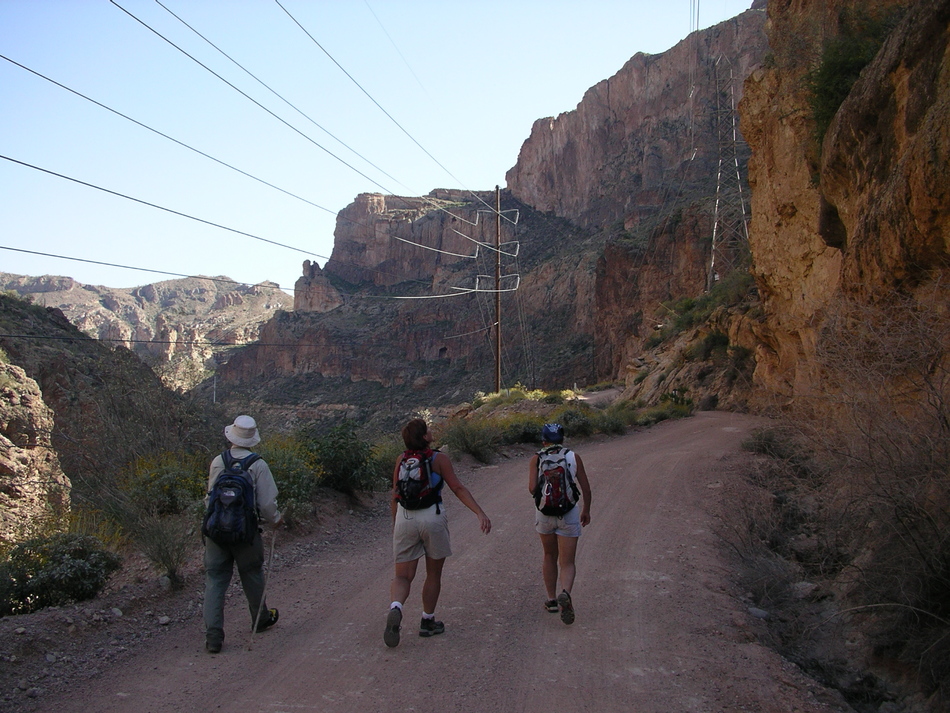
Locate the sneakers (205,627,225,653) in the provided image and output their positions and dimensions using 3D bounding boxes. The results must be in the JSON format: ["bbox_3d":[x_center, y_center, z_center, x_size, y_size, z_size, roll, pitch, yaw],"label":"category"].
[{"bbox_3d":[-2.887,3.119,8.854,0.198,0.274,0.224,-5,5,-22],"label":"sneakers"}]

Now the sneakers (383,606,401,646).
[{"bbox_3d":[-0.886,2.894,8.589,0.178,0.456,0.204,-4,5,-13],"label":"sneakers"}]

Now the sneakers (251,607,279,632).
[{"bbox_3d":[-2.413,3.048,9.182,0.147,0.143,0.371,-23,2,18],"label":"sneakers"}]

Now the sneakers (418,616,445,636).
[{"bbox_3d":[-0.478,2.988,8.911,0.308,0.239,0.142,-1,-1,-24],"label":"sneakers"}]

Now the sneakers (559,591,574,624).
[{"bbox_3d":[1.026,2.801,8.949,0.130,0.399,0.162,-5,-7,22],"label":"sneakers"}]

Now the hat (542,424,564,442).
[{"bbox_3d":[0.924,0.879,9.425,0.173,0.239,0.222,-1,17,-35],"label":"hat"}]
